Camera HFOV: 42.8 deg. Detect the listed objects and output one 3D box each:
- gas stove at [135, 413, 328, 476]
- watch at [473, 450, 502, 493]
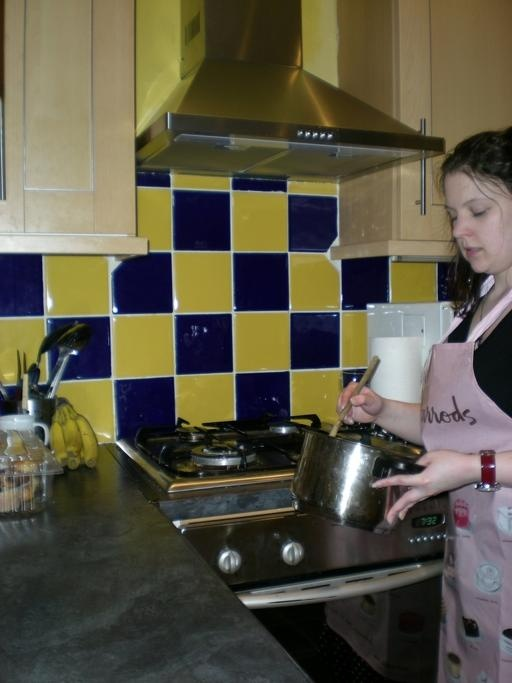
[{"bbox_3d":[-0.003,0.220,1.482,0.516,0.053,0.491,-2,3,-25],"label":"gas stove"},{"bbox_3d":[0.301,0.168,0.848,0.028,0.046,0.023,3,-1,5],"label":"watch"}]
